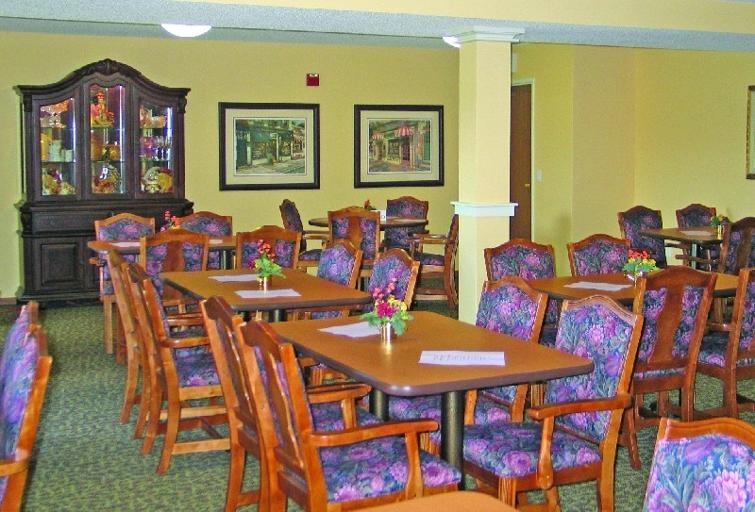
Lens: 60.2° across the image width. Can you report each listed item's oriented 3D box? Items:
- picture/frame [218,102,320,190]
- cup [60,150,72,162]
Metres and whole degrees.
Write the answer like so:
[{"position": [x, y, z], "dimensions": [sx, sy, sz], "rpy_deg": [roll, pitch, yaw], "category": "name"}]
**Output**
[{"position": [-1.687, -1.645, 9.649], "dimensions": [1.423, 1.107, 0.063], "rpy_deg": [-1, 6, -13], "category": "picture/frame"}, {"position": [-4.022, -1.263, 8.463], "dimensions": [0.141, 0.176, 0.187], "rpy_deg": [2, -2, -45], "category": "cup"}]
